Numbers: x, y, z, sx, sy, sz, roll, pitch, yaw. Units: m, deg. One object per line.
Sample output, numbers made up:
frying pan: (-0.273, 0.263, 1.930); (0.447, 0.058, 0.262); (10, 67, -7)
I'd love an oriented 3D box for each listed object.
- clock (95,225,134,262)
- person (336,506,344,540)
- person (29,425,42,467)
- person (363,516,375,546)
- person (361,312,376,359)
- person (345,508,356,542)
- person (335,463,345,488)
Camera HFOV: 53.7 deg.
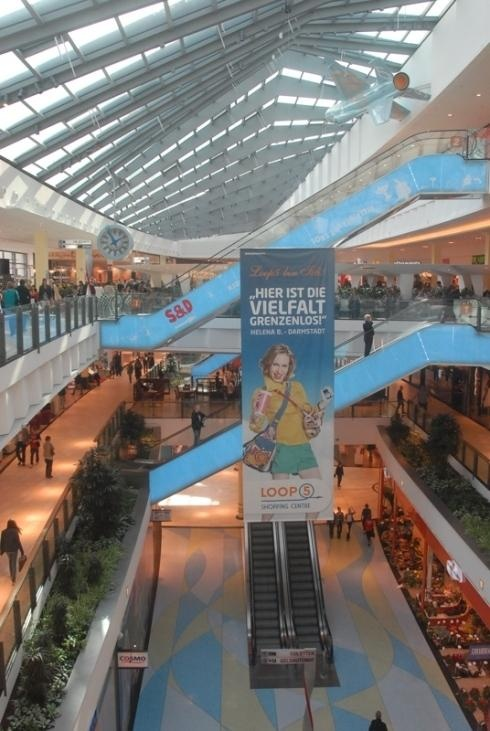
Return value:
clock: (-4.422, -4.235, 16.401); (1.054, 1.121, 0.848); (-4, 11, -13)
person: (3.647, 6.102, 18.825); (0.325, 1.114, 0.955); (0, 11, 11)
person: (-5.894, 2.297, 13.537); (0.297, 1.138, 1.162); (-7, 12, -25)
person: (4.659, 6.154, 18.277); (0.346, 1.050, 0.804); (1, 11, 15)
person: (3.370, -0.903, 13.214); (0.284, 0.917, 1.078); (1, 11, 13)
person: (4.095, 6.034, 19.085); (0.340, 1.334, 1.778); (0, 11, 12)
person: (4.505, 5.177, 23.302); (0.384, 1.447, 1.613); (0, 11, 11)
